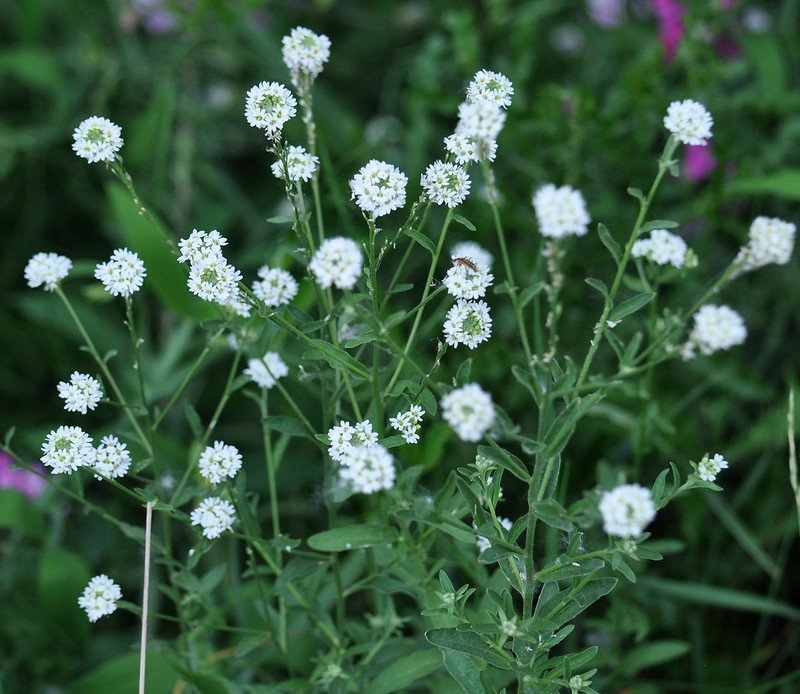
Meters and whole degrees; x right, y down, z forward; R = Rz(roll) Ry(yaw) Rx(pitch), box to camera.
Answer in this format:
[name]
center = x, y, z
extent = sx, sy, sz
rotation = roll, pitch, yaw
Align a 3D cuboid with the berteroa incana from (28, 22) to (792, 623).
[berteroa incana]
center = 0.058, 0.055, 1.418
extent = 0.845, 0.534, 1.172
rotation = 4, 85, 1
